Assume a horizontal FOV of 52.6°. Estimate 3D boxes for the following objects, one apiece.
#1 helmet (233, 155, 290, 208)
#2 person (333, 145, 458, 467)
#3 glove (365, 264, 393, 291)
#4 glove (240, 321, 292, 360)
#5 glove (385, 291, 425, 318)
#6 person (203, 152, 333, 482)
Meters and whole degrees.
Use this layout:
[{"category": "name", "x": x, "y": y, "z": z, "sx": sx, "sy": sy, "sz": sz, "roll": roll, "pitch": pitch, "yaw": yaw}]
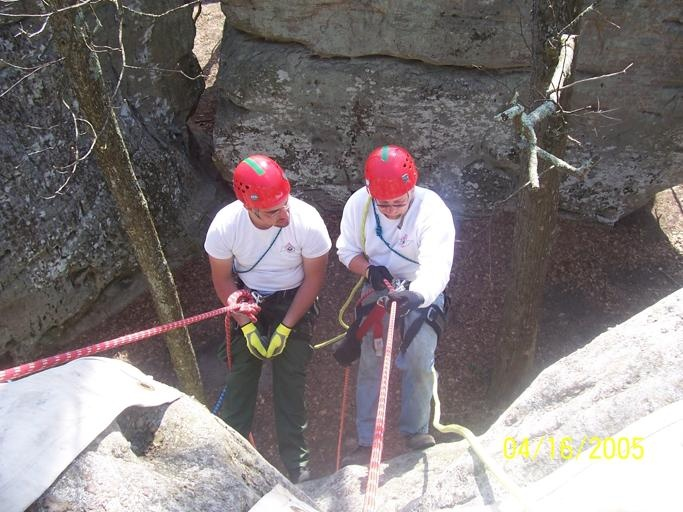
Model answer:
[{"category": "helmet", "x": -0.638, "y": -0.531, "z": 5.298, "sx": 0.324, "sy": 0.339, "sz": 0.433, "roll": -41, "pitch": 76, "yaw": -19}, {"category": "person", "x": 0.418, "y": 0.595, "z": 5.757, "sx": 0.932, "sy": 2.722, "sz": 1.404, "roll": 1, "pitch": 38, "yaw": 0}, {"category": "glove", "x": 0.305, "y": 0.176, "z": 5.482, "sx": 0.211, "sy": 0.153, "sz": 0.187, "roll": 6, "pitch": 40, "yaw": 5}, {"category": "glove", "x": -0.598, "y": 0.629, "z": 5.495, "sx": 0.321, "sy": 0.326, "sz": 0.143, "roll": 1, "pitch": 3, "yaw": -7}, {"category": "glove", "x": 0.485, "y": 0.370, "z": 5.175, "sx": 0.214, "sy": 0.214, "sz": 0.167, "roll": -19, "pitch": 84, "yaw": -3}, {"category": "person", "x": -0.583, "y": 0.716, "z": 5.667, "sx": 0.962, "sy": 2.780, "sz": 1.228, "roll": -1, "pitch": 38, "yaw": -3}]
